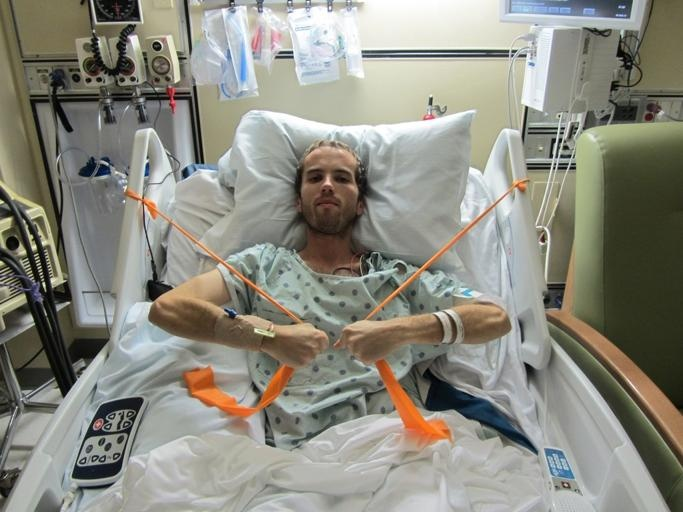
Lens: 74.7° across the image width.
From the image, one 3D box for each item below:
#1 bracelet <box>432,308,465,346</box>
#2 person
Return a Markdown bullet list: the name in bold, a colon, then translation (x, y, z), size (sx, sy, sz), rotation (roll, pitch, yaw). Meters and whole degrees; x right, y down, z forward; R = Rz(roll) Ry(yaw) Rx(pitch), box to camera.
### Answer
- **bracelet**: translation (0.346, 0.237, 1.481), size (0.051, 0.096, 0.105), rotation (1, -11, -11)
- **person**: translation (0.021, -0.030, 2.104), size (1.547, 0.905, 1.555), rotation (2, 55, -4)
